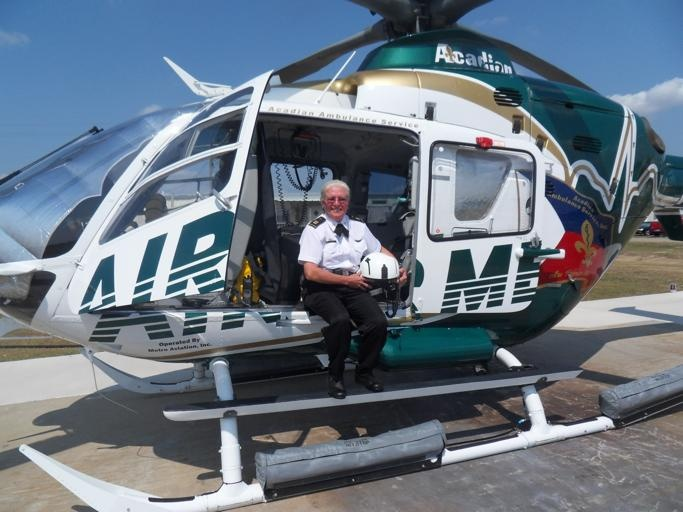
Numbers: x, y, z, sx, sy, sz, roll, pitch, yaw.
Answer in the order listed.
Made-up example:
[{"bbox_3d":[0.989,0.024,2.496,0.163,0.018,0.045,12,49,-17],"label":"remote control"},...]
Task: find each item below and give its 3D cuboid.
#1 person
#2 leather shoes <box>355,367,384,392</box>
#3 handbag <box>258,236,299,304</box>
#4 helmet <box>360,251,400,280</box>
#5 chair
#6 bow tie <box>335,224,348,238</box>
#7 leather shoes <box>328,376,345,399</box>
[{"bbox_3d":[0.032,0.228,4.479,0.682,1.560,0.597,-1,7,-20],"label":"person"},{"bbox_3d":[0.213,0.927,4.411,0.212,0.160,0.119,7,8,43],"label":"leather shoes"},{"bbox_3d":[-0.476,0.137,4.745,0.496,0.458,0.174,4,0,-31],"label":"handbag"},{"bbox_3d":[0.291,0.090,4.444,0.309,0.198,0.209,1,6,0],"label":"helmet"},{"bbox_3d":[-0.036,-0.259,4.828,1.126,0.899,1.037,-17,19,-31],"label":"chair"},{"bbox_3d":[0.010,-0.178,4.540,0.127,0.088,0.031,-2,4,-18],"label":"bow tie"},{"bbox_3d":[-0.030,0.955,4.309,0.119,0.149,0.125,1,6,-5],"label":"leather shoes"}]
